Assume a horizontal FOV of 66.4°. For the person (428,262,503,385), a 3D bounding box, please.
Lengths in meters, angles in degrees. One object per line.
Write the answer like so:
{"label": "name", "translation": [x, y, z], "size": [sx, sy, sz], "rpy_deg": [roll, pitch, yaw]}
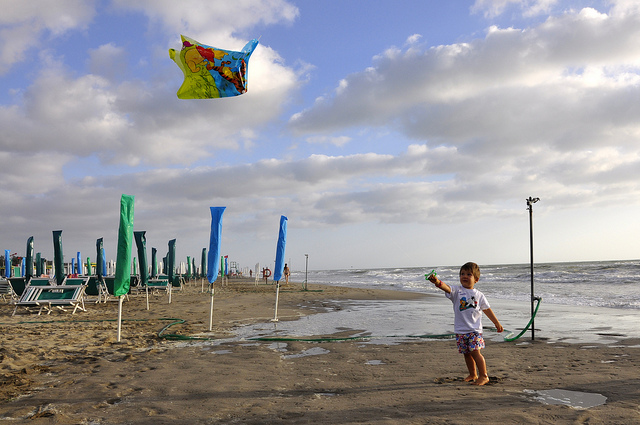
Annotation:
{"label": "person", "translation": [2.710, 1.977, 8.920], "size": [0.926, 2.215, 1.410], "rpy_deg": [0, -1, 36]}

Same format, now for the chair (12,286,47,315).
{"label": "chair", "translation": [-9.535, 2.734, 16.126], "size": [0.817, 0.945, 1.196], "rpy_deg": [8, -20, -27]}

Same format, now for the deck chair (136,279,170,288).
{"label": "deck chair", "translation": [-7.781, 3.373, 23.605], "size": [1.087, 0.302, 0.790], "rpy_deg": [-1, -7, 9]}

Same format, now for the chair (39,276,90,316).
{"label": "chair", "translation": [-8.709, 2.756, 16.879], "size": [1.046, 0.927, 1.366], "rpy_deg": [13, 26, 0]}
